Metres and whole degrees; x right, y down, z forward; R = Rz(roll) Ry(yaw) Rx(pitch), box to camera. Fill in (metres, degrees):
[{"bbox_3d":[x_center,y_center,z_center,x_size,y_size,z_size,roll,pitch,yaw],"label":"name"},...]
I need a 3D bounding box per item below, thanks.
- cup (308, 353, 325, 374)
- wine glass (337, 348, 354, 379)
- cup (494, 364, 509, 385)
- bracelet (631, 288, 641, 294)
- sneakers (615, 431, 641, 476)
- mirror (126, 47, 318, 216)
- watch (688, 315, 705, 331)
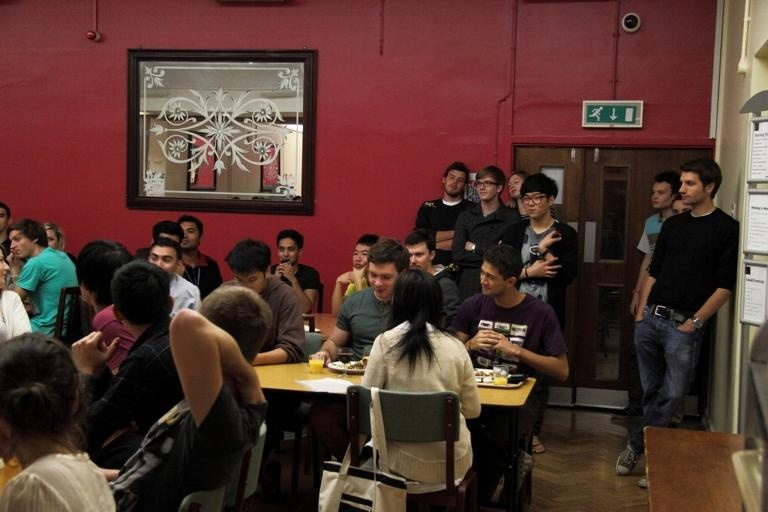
[{"bbox_3d":[-0.437,0.691,4.120,0.086,0.079,0.101,-1,-5,9],"label":"cup"},{"bbox_3d":[-0.247,0.693,4.140,0.131,0.201,0.138,1,-5,0],"label":"wine glass"},{"bbox_3d":[0.715,0.724,3.879,0.092,0.105,0.093,0,-4,0],"label":"cup"},{"bbox_3d":[2.369,0.329,5.964,0.061,0.029,0.085,-3,-5,30],"label":"bracelet"},{"bbox_3d":[1.904,1.544,4.941,0.117,0.344,0.134,42,-19,-13],"label":"sneakers"},{"bbox_3d":[-1.607,-1.341,6.646,1.756,1.445,0.090,1,3,11],"label":"mirror"},{"bbox_3d":[2.270,0.482,4.668,0.076,0.112,0.104,-36,17,-3],"label":"watch"}]
